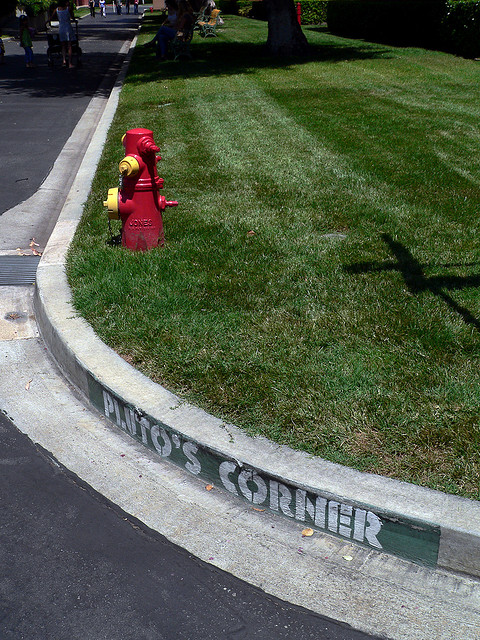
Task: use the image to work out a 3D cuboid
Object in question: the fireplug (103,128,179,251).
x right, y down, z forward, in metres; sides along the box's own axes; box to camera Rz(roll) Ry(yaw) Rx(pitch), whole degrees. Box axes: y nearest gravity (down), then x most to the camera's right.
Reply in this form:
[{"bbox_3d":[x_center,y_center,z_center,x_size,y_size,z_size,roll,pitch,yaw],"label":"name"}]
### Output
[{"bbox_3d":[-0.844,-0.980,6.630,0.525,0.847,0.426,-4,5,5],"label":"fireplug"}]
